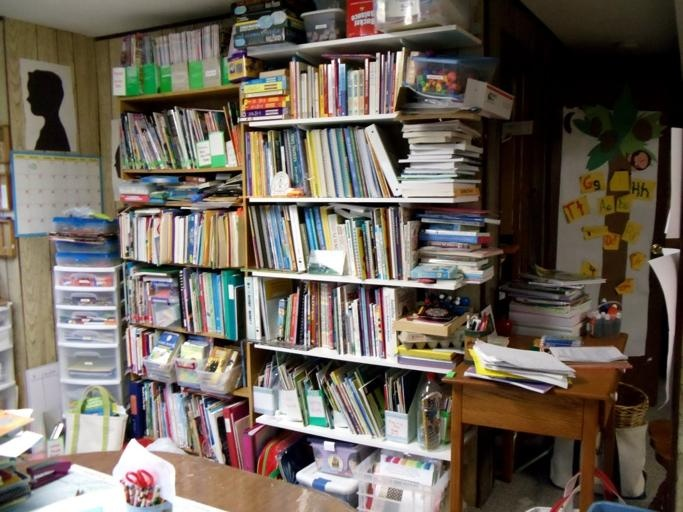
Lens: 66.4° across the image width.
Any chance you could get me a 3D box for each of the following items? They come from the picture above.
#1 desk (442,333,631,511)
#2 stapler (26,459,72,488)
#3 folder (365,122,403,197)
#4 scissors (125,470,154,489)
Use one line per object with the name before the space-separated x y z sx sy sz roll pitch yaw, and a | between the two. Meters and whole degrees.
desk | 1.080 0.616 2.801 0.766 0.875 0.989 1 3 31
stapler | -1.181 0.860 2.092 0.122 0.054 0.150 4 11 37
folder | 0.256 -0.533 2.926 0.217 0.401 0.102 5 13 42
scissors | -0.674 0.742 1.746 0.069 0.071 0.027 -32 -7 -4
